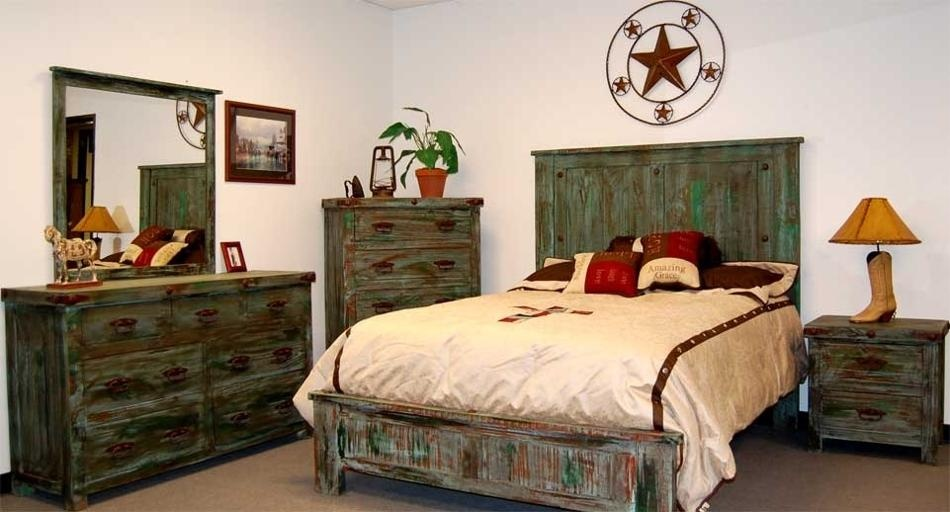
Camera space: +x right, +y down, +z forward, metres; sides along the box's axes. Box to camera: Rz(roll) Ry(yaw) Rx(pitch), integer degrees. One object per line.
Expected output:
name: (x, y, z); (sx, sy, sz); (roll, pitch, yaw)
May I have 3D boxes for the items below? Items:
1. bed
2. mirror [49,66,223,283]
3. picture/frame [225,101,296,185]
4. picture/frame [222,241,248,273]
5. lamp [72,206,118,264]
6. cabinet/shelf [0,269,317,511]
bed: (1.006, 0.482, 5.773); (3.163, 2.337, 3.339); (-1, -2, 33)
mirror: (-2.770, -0.675, 5.788); (1.389, 1.725, 0.448); (-8, 16, -27)
picture/frame: (-2.037, -1.053, 6.452); (0.914, 0.874, 0.065); (0, -1, -40)
picture/frame: (-2.164, 0.015, 6.189); (0.032, 0.164, 0.300); (-18, -6, 19)
lamp: (-3.023, -0.186, 5.545); (0.400, 0.441, 0.374); (0, -4, 6)
cabinet/shelf: (-2.507, 1.054, 5.285); (0.703, 1.112, 1.847); (-1, 1, 42)
